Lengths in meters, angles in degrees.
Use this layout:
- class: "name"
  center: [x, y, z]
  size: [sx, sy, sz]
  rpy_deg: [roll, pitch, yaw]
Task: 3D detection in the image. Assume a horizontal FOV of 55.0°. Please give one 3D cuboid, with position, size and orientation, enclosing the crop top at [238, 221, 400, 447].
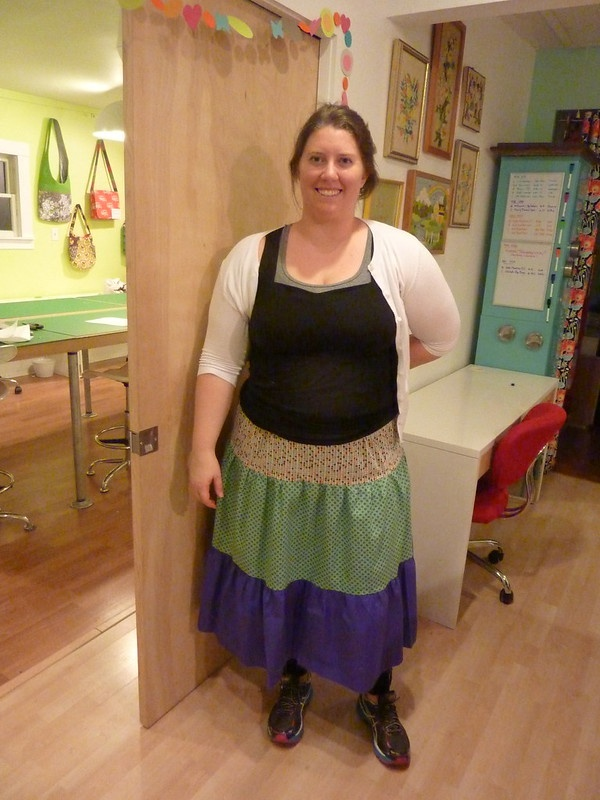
- class: "crop top"
  center: [0.053, -0.151, 1.279]
  size: [0.366, 0.459, 0.251]
  rpy_deg: [-2, 2, -7]

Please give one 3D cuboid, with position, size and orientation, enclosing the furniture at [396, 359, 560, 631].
- class: "furniture"
  center: [0.651, 0.369, 2.122]
  size: [0.318, 0.508, 0.837]
  rpy_deg: [9, 24, 27]

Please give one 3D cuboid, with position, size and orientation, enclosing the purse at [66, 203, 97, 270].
- class: "purse"
  center: [-2.172, -1.626, 5.785]
  size: [0.095, 0.651, 0.334]
  rpy_deg: [6, 14, 20]

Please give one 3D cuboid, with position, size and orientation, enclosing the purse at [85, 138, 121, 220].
- class: "purse"
  center: [-1.992, -2.259, 5.932]
  size: [0.171, 0.787, 0.415]
  rpy_deg: [6, 14, 19]

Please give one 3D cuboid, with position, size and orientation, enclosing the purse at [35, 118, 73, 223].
- class: "purse"
  center: [-2.281, -2.149, 5.430]
  size: [0.131, 0.925, 0.413]
  rpy_deg: [6, 13, 18]

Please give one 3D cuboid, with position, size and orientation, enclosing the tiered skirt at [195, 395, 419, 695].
- class: "tiered skirt"
  center: [0.038, 0.326, 1.467]
  size: [0.553, 0.683, 0.414]
  rpy_deg: [7, 25, 9]

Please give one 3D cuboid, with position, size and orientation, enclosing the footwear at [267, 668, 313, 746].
- class: "footwear"
  center: [-0.022, 0.812, 1.560]
  size: [0.073, 0.086, 0.198]
  rpy_deg: [3, -1, 10]

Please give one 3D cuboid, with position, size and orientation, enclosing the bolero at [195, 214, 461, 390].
- class: "bolero"
  center: [0.063, -0.195, 1.293]
  size: [0.577, 0.400, 0.287]
  rpy_deg: [-2, 23, -2]

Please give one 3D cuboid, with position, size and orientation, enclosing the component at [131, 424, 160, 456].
- class: "component"
  center: [-0.346, 0.086, 1.292]
  size: [0.034, 0.058, 0.061]
  rpy_deg: [6, 16, 27]

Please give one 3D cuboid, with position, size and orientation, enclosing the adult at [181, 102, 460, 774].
- class: "adult"
  center: [0.052, 0.118, 1.366]
  size: [0.605, 1.450, 0.384]
  rpy_deg: [0, 13, 3]

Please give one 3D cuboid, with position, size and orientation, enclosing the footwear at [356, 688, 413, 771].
- class: "footwear"
  center: [0.211, 0.834, 1.473]
  size: [0.066, 0.091, 0.200]
  rpy_deg: [1, 7, -9]

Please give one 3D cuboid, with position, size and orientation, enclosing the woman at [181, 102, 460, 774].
- class: "woman"
  center: [0.046, 0.122, 1.353]
  size: [0.588, 1.437, 0.397]
  rpy_deg: [2, 12, 11]

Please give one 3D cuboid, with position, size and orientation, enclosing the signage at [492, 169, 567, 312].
- class: "signage"
  center: [1.168, -0.877, 2.968]
  size: [0.270, 0.741, 0.037]
  rpy_deg: [9, 50, 21]
